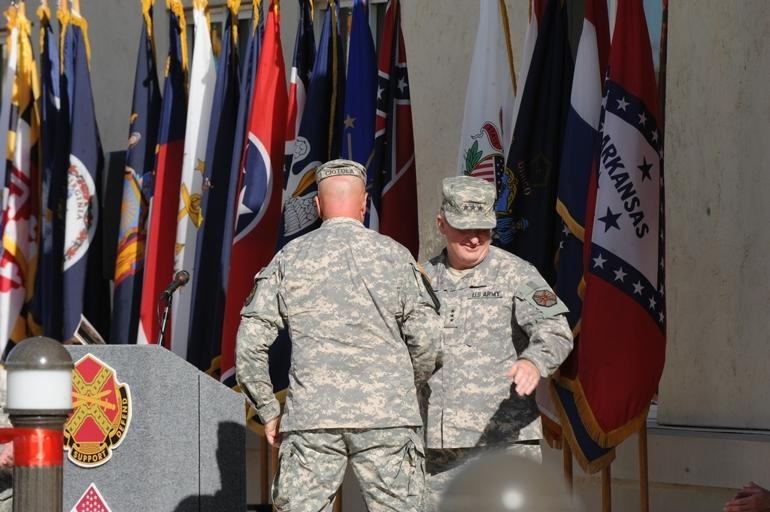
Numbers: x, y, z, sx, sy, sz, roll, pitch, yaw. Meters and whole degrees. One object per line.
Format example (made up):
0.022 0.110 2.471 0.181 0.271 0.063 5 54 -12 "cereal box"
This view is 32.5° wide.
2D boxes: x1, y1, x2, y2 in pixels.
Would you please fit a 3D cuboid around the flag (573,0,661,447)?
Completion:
1.626 -0.248 8.978 0.557 2.940 0.872 1 11 16 "flag"

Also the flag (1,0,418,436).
-1.229 -0.216 9.449 2.995 3.609 0.347 0 -3 20 "flag"
